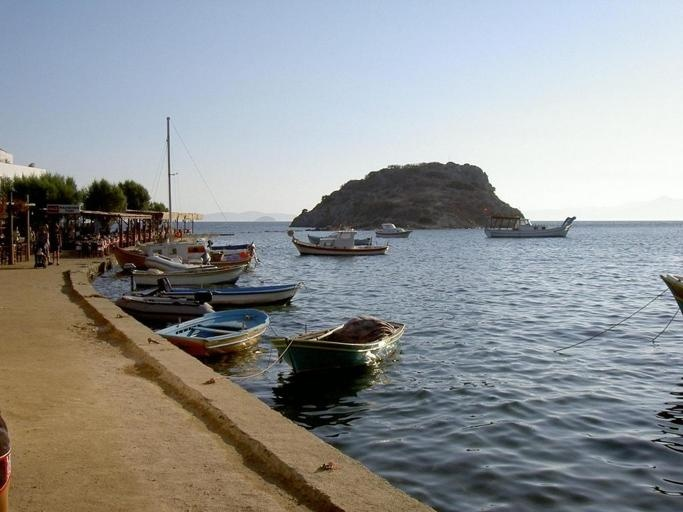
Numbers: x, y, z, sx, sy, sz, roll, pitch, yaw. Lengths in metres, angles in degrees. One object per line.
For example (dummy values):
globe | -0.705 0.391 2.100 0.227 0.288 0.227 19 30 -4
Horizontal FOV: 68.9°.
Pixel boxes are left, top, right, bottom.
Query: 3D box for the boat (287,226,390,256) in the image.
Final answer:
boat | -0.382 -1.502 58.328 9.491 3.193 3.933 0 7 5

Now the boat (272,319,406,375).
boat | 0.109 2.584 14.308 3.481 1.056 2.928 0 6 26

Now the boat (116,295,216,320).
boat | -6.693 1.886 18.758 4.108 0.747 1.195 6 10 14
